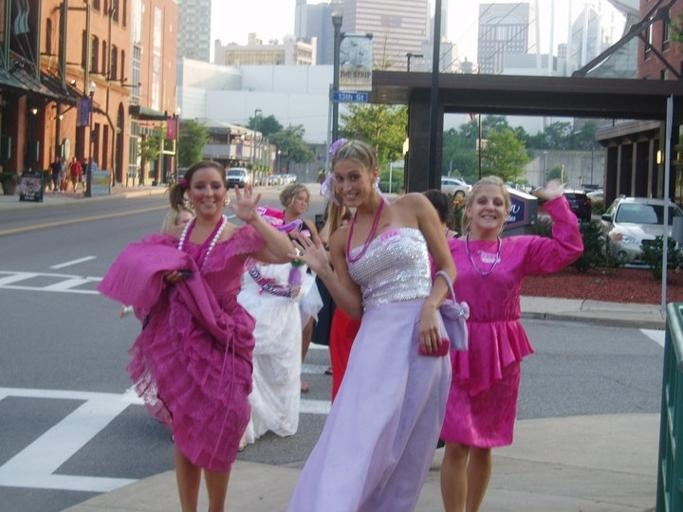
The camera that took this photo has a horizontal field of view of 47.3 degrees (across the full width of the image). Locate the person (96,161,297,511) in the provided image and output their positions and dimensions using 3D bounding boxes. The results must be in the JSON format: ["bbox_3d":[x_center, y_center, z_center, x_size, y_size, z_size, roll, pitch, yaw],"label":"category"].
[{"bbox_3d":[-1.021,0.576,5.601,1.193,2.427,0.618,0,7,-6],"label":"person"}]

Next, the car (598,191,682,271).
[{"bbox_3d":[8.098,-0.682,21.490,1.496,1.631,3.843,1,1,9],"label":"car"}]
